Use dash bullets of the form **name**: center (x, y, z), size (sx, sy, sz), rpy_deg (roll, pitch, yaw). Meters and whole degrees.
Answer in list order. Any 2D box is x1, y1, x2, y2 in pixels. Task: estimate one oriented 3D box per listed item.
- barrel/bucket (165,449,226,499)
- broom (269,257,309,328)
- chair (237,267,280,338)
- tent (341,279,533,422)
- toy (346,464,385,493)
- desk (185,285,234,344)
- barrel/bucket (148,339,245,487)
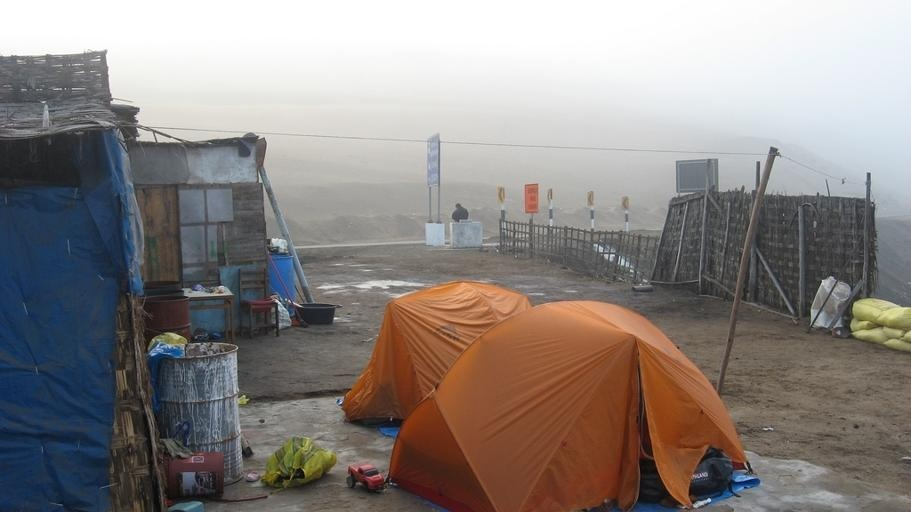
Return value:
- **barrel/bucket**: center (-3.467, 2.973, 9.769), size (0.760, 0.602, 0.456), rpy_deg (1, -1, -37)
- **broom**: center (-4.041, 0.844, 17.482), size (1.081, 1.770, 0.691), rpy_deg (0, 0, -11)
- **chair**: center (-4.343, 1.013, 16.002), size (0.806, 1.423, 0.932), rpy_deg (-3, 9, -18)
- **tent**: center (-0.086, 1.436, 12.586), size (3.054, 2.351, 2.347), rpy_deg (-3, -3, 30)
- **toy**: center (-1.227, 3.057, 10.026), size (0.316, 0.221, 0.511), rpy_deg (1, 2, -42)
- **desk**: center (-5.029, 1.201, 15.047), size (1.190, 1.079, 1.098), rpy_deg (-1, 1, -29)
- **barrel/bucket**: center (-3.634, 2.247, 10.626), size (1.328, 1.720, 1.275), rpy_deg (0, 1, 0)
